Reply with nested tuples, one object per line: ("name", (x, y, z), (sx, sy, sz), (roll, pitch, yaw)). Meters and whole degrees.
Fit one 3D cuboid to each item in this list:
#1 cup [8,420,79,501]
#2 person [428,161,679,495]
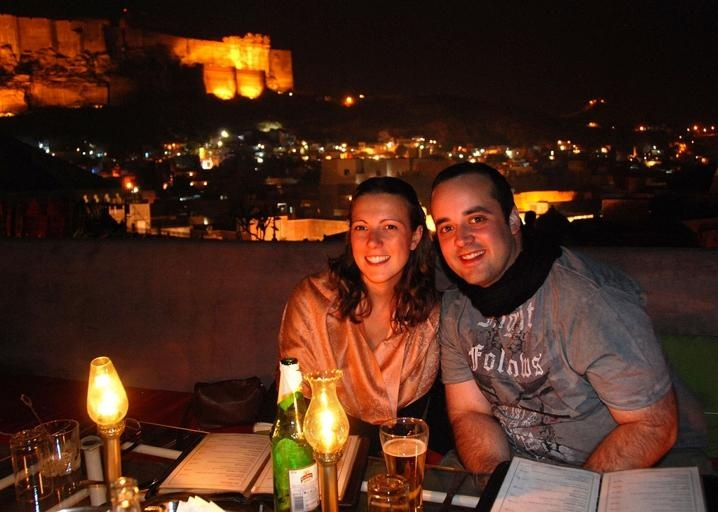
("cup", (-1.296, 0.854, 2.593), (0.267, 0.297, 0.300), (1, -1, -44))
("person", (0.903, 0.276, 2.888), (1.115, 1.463, 0.500), (0, 5, 6))
